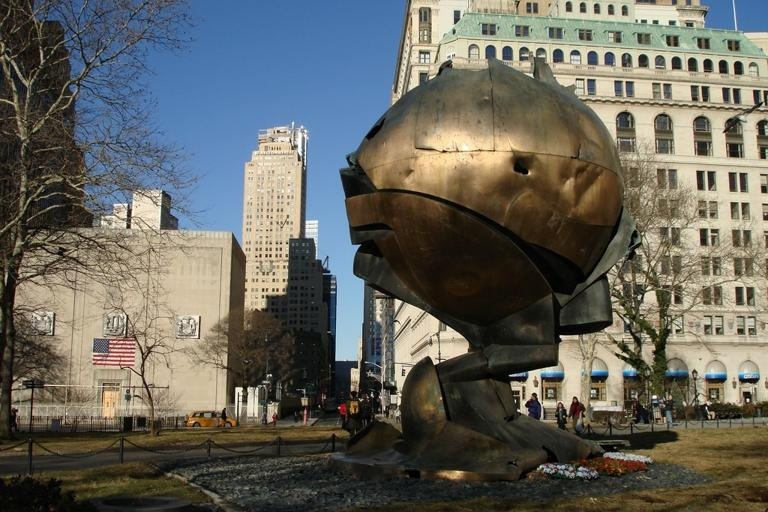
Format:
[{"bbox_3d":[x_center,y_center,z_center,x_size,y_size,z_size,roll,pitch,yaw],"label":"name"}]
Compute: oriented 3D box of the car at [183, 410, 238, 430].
[{"bbox_3d":[-15.134,14.237,85.582,3.333,1.041,1.847,0,-3,-2],"label":"car"}]
